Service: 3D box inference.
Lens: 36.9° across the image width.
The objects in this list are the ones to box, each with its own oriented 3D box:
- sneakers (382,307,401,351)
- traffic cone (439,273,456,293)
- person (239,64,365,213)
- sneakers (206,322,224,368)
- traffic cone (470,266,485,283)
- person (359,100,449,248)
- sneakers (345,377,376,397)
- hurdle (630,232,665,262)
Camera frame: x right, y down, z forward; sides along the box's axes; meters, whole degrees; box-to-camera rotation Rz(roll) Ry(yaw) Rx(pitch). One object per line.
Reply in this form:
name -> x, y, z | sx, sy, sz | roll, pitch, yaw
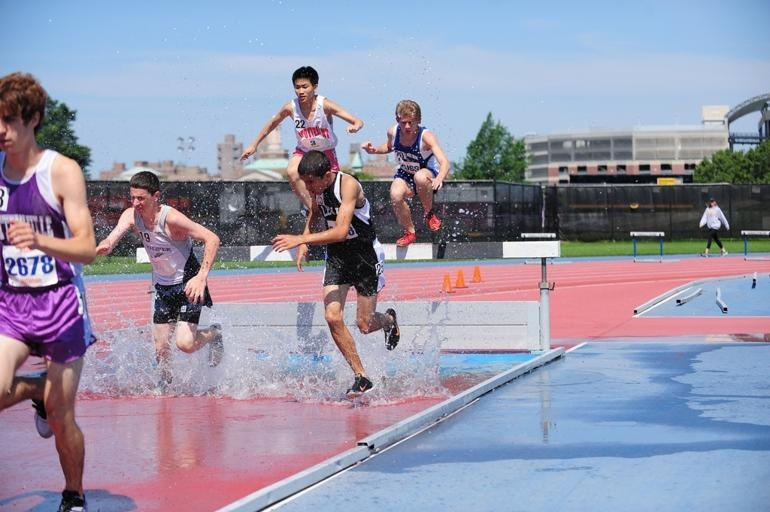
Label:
sneakers -> 0.096, 0.774, 12.073 | 0.158, 0.408, 0.190 | 5, 14, 36
traffic cone -> 1.101, 0.471, 19.671 | 0.347, 0.389, 0.304 | -1, 10, 3
person -> -0.864, -1.142, 12.902 | 1.601, 1.827, 0.828 | 0, 4, 18
sneakers -> -1.747, 0.952, 12.076 | 0.157, 0.422, 0.192 | 1, 13, -3
traffic cone -> 1.779, 0.371, 22.202 | 0.338, 0.341, 0.316 | 0, 7, 7
person -> 0.242, -0.952, 13.531 | 0.767, 1.713, 0.893 | 0, 1, 9
sneakers -> -0.232, 1.263, 11.036 | 0.126, 0.134, 0.319 | 0, 1, 40
hurdle -> 7.941, -0.278, 34.942 | 1.068, 0.713, 0.122 | 0, 7, -3
